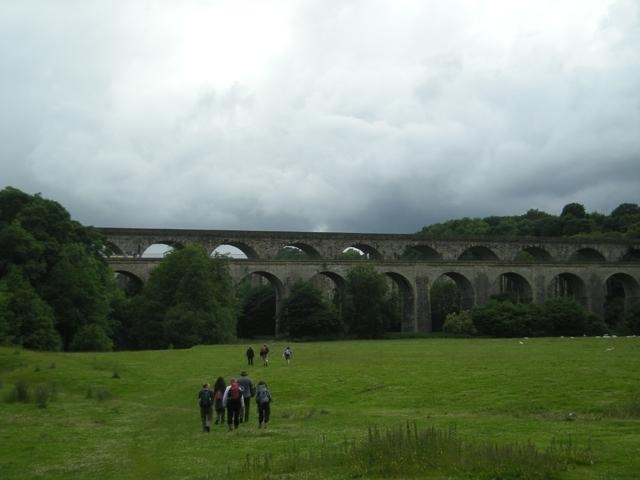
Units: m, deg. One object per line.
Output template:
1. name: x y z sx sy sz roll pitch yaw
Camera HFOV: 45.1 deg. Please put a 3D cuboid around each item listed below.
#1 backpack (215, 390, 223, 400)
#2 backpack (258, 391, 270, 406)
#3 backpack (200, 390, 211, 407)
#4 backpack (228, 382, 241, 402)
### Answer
1. backpack: -3.444 5.281 26.379 0.401 0.409 0.234 4 -12 -14
2. backpack: -1.835 5.175 25.433 0.418 0.407 0.419 3 -13 -13
3. backpack: -3.821 5.274 25.746 0.473 0.587 0.311 2 -18 -14
4. backpack: -2.864 5.041 25.747 0.436 0.611 0.225 0 2 -4
